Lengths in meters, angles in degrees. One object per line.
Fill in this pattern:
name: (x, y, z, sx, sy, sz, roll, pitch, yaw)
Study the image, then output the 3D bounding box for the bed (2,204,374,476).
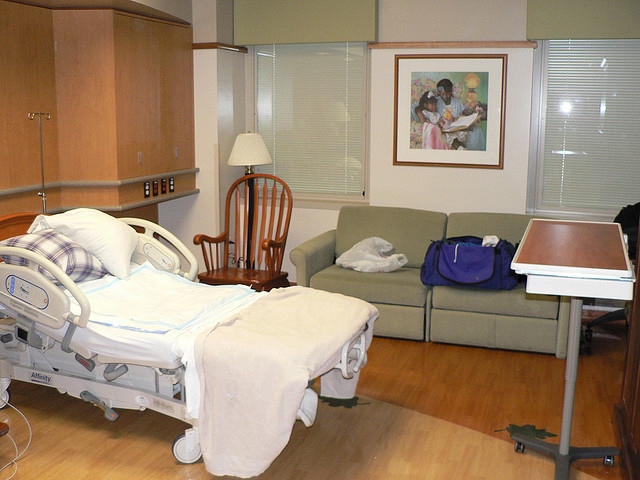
bed: (-0.820, 0.515, 3.246, 2.219, 1.323, 1.370, 7, 14, 17)

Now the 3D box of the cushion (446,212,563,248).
cushion: (1.528, 0.038, 4.599, 0.659, 0.306, 0.333, 2, 6, 14)

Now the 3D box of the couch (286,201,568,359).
couch: (1.038, 0.320, 4.585, 2.433, 1.107, 0.904, 3, 12, 23)

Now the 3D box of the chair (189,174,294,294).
chair: (-0.764, 0.086, 4.916, 1.066, 1.457, 1.004, -2, 7, -20)

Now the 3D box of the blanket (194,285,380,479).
blanket: (-0.233, 0.766, 2.858, 0.650, 0.660, 0.970, 8, 16, 30)
